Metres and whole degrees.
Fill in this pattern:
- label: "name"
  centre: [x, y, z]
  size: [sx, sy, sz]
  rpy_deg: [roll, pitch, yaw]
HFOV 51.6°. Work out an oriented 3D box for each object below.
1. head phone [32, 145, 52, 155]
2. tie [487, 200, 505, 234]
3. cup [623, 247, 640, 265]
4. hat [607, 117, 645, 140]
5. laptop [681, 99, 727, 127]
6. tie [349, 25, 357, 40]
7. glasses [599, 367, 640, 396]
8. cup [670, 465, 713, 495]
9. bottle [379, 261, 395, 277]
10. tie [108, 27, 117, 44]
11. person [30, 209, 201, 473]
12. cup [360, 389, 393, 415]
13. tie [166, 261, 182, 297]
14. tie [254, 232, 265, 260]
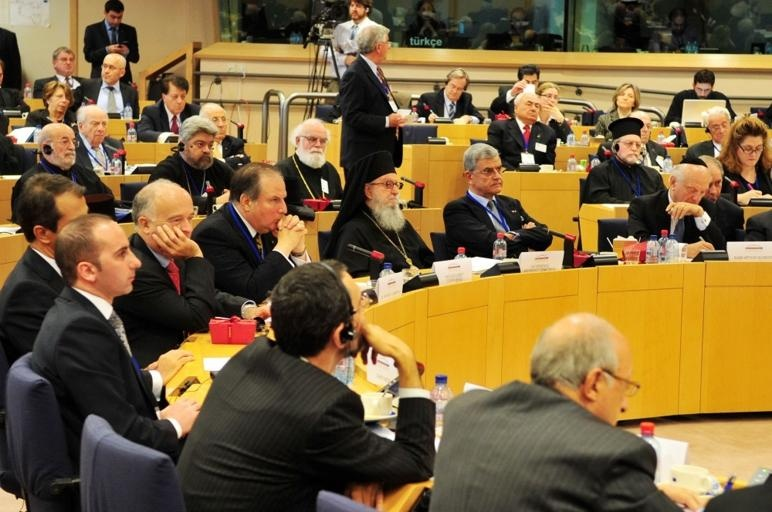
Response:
- label: "head phone"
  centre: [-3.448, -1.082, 8.084]
  size: [0.109, 0.084, 0.149]
  rpy_deg: [-12, -4, -6]
- label: "tie"
  centre: [1.091, -0.373, 7.831]
  size: [0.070, 0.284, 0.205]
  rpy_deg: [-36, -7, 27]
- label: "cup"
  centre: [2.010, -0.004, 6.509]
  size: [0.138, 0.134, 0.113]
  rpy_deg: [2, -3, 27]
- label: "hat"
  centre: [2.789, -1.480, 9.257]
  size: [0.310, 0.160, 0.311]
  rpy_deg: [-3, -3, 6]
- label: "laptop"
  centre: [4.828, -2.236, 12.218]
  size: [0.647, 0.392, 0.471]
  rpy_deg: [2, -14, 6]
- label: "tie"
  centre: [-0.514, -3.477, 12.506]
  size: [0.088, 0.264, 0.302]
  rpy_deg: [-1, 5, -8]
- label: "glasses"
  centre: [0.995, 0.525, 3.342]
  size: [0.174, 0.052, 0.171]
  rpy_deg: [28, 3, 20]
- label: "cup"
  centre: [1.445, 1.039, 3.745]
  size: [0.152, 0.094, 0.114]
  rpy_deg: [4, 0, 27]
- label: "bottle"
  centre: [0.005, 0.100, 5.889]
  size: [0.096, 0.177, 0.097]
  rpy_deg: [0, 12, 0]
- label: "tie"
  centre: [-5.015, -4.036, 14.626]
  size: [0.171, 0.317, 0.089]
  rpy_deg: [-4, -6, -15]
- label: "person"
  centre: [-1.396, 0.419, 4.091]
  size: [0.776, 1.251, 0.668]
  rpy_deg: [-3, 5, -27]
- label: "cup"
  centre: [-0.051, 0.739, 4.013]
  size: [0.142, 0.097, 0.144]
  rpy_deg: [-1, 4, 0]
- label: "tie"
  centre: [-1.385, 0.139, 5.198]
  size: [0.055, 0.189, 0.142]
  rpy_deg: [-6, 4, 29]
- label: "tie"
  centre: [-0.946, -0.072, 5.961]
  size: [0.038, 0.158, 0.116]
  rpy_deg: [-4, -11, -15]
